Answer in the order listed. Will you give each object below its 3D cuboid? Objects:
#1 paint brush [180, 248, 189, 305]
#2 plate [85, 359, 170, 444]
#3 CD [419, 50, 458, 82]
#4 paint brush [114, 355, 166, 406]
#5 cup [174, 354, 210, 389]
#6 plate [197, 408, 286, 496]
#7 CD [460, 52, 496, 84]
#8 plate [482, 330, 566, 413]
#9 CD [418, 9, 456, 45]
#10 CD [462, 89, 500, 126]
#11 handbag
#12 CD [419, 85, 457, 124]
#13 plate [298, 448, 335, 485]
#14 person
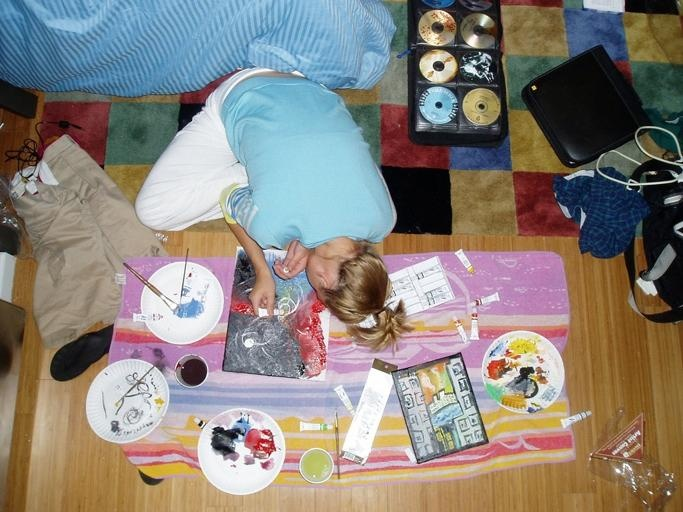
[{"bbox_3d":[-0.890,0.109,3.507,0.029,0.020,0.322,8,79,7],"label":"paint brush"},{"bbox_3d":[-1.160,0.790,3.379,0.439,0.148,0.402,-2,62,0],"label":"plate"},{"bbox_3d":[0.576,-1.138,3.668,0.226,0.078,0.190,7,63,4],"label":"CD"},{"bbox_3d":[-1.113,0.696,3.401,0.298,0.041,0.041,-53,31,-10],"label":"paint brush"},{"bbox_3d":[-0.815,0.624,3.388,0.165,0.064,0.153,0,62,1],"label":"cup"},{"bbox_3d":[-0.539,1.061,3.369,0.469,0.157,0.414,-2,62,0],"label":"plate"},{"bbox_3d":[0.811,-1.129,3.666,0.220,0.070,0.175,8,63,5],"label":"CD"},{"bbox_3d":[1.004,0.653,3.426,0.428,0.104,0.460,35,86,-2],"label":"plate"},{"bbox_3d":[0.573,-1.375,3.691,0.229,0.081,0.202,4,63,3],"label":"CD"},{"bbox_3d":[0.819,-0.886,3.640,0.221,0.087,0.210,1,62,2],"label":"CD"},{"bbox_3d":[1.506,-0.914,3.713,0.712,0.335,0.557,-20,63,-9],"label":"handbag"},{"bbox_3d":[0.570,-0.896,3.642,0.226,0.086,0.210,8,63,5],"label":"CD"},{"bbox_3d":[-0.131,1.145,3.375,0.181,0.065,0.166,-1,62,1],"label":"plate"},{"bbox_3d":[-0.288,-0.333,3.129,1.151,0.790,1.751,-4,94,-22],"label":"person"}]
